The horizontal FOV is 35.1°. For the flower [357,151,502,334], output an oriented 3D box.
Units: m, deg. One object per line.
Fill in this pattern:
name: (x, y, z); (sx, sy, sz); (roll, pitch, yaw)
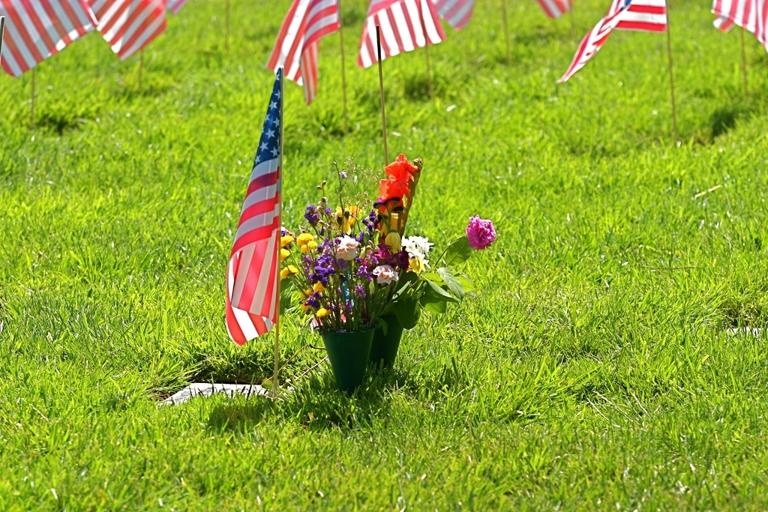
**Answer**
flower: (0.200, -0.034, 8.611); (1.006, 1.130, 0.904); (4, 23, -23)

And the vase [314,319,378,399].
vase: (-0.242, 0.722, 8.611); (0.352, 0.462, 0.402); (2, 8, 30)

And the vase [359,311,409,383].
vase: (0.017, 0.647, 8.489); (0.298, 0.364, 0.345); (2, 10, 0)
